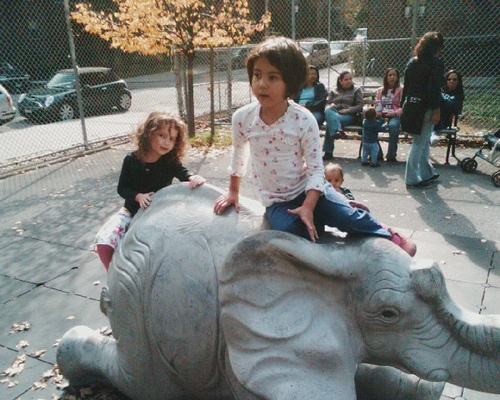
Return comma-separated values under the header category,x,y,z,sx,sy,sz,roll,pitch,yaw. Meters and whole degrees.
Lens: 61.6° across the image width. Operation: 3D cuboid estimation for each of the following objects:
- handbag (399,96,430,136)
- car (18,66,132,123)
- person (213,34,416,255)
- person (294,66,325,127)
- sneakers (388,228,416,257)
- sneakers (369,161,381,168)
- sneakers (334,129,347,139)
category,x,y,z,sx,sy,sz,roll,pitch,yaw
handbag,2.388,-1.230,6.078,0.318,0.639,0.454,-7,16,-42
car,-5.028,-3.054,12.254,1.593,1.462,3.465,7,16,30
person,0.297,-0.388,2.342,0.985,1.146,0.771,-2,31,2
person,1.101,-2.127,8.408,0.756,1.163,0.770,10,-1,9
sneakers,0.754,0.213,2.070,0.145,0.066,0.111,42,21,8
sneakers,2.183,-0.615,7.388,0.154,0.075,0.063,5,4,44
sneakers,1.747,-1.235,8.022,0.171,0.240,0.524,0,13,21
